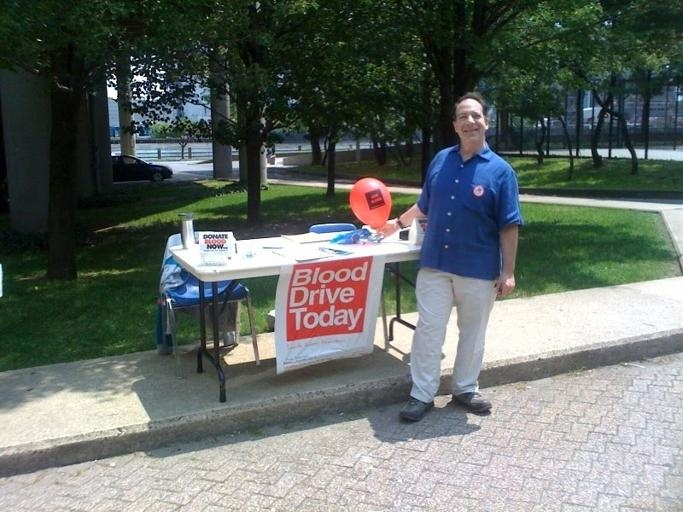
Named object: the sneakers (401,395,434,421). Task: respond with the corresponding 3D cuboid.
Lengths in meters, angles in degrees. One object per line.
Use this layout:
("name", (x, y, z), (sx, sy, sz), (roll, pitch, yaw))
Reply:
("sneakers", (0.636, 1.274, 4.783), (0.125, 0.131, 0.336), (6, -3, 38))

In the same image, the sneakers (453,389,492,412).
("sneakers", (1.105, 1.232, 4.870), (0.131, 0.121, 0.301), (-2, 1, -39))

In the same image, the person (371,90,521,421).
("person", (0.998, -0.008, 4.736), (0.906, 2.596, 1.029), (2, 14, 15))

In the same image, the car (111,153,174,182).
("car", (-11.068, -4.927, 31.768), (3.270, 1.112, 1.478), (-5, 12, -18))

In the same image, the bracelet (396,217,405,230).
("bracelet", (0.560, -0.308, 5.545), (0.027, 0.091, 0.095), (-39, 28, -12))

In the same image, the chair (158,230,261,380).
("chair", (-1.349, 0.462, 5.594), (0.944, 1.106, 0.830), (-3, 2, -7))
